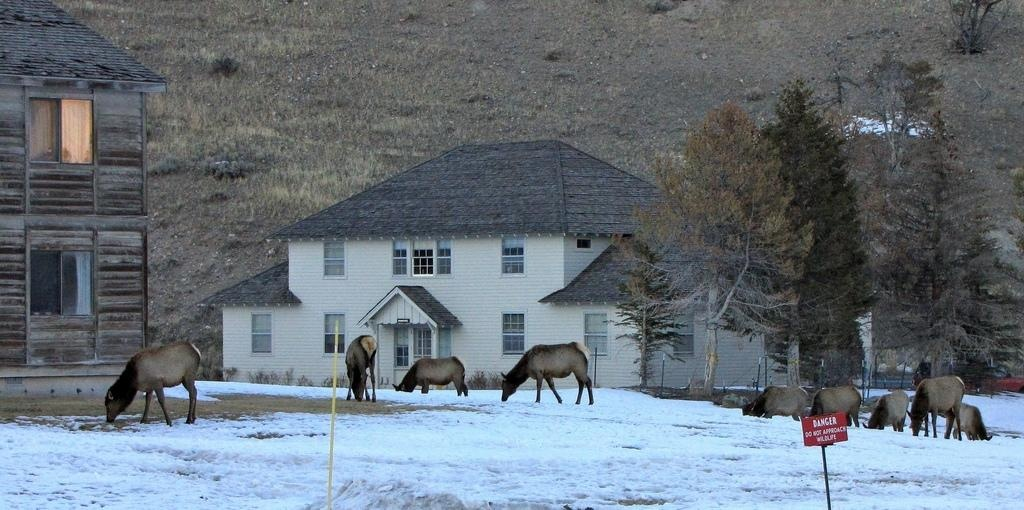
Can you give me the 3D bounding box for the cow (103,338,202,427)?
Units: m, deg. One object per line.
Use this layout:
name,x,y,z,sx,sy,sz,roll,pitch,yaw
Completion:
cow,-28.332,10.075,146.453,6.770,6.544,2.791,2,-6,-9

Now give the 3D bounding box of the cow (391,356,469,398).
cow,-6.758,10.468,155.913,6.326,3.428,1.751,-6,3,8

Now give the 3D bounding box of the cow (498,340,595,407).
cow,3.263,9.719,154.007,7.141,5.154,2.375,1,-6,1
